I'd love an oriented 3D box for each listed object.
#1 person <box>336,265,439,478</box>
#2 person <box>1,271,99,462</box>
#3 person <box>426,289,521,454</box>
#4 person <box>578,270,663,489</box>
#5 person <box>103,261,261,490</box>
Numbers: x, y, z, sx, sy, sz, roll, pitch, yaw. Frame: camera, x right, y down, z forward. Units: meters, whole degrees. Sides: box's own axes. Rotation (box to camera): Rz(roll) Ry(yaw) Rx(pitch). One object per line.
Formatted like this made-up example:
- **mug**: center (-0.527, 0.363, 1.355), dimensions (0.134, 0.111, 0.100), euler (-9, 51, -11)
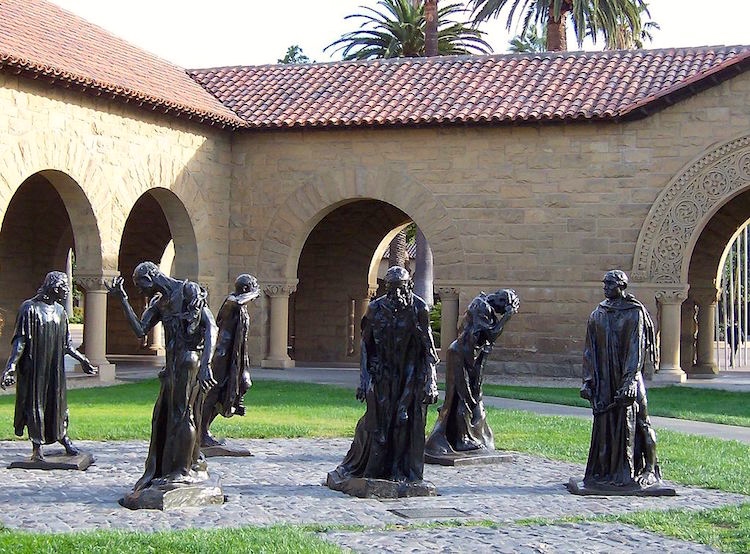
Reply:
- **person**: center (0.224, 1.257, 15.237), dimensions (1.148, 2.795, 0.551), euler (2, -4, 2)
- **person**: center (-4.605, 1.183, 16.050), dimensions (1.180, 2.531, 0.475), euler (5, -5, -44)
- **person**: center (1.388, 1.359, 17.188), dimensions (1.246, 2.433, 0.621), euler (3, -4, -23)
- **person**: center (3.261, 1.330, 15.584), dimensions (1.037, 2.869, 0.522), euler (1, -4, 9)
- **person**: center (-2.539, 1.240, 14.556), dimensions (1.031, 2.826, 0.479), euler (2, -4, -9)
